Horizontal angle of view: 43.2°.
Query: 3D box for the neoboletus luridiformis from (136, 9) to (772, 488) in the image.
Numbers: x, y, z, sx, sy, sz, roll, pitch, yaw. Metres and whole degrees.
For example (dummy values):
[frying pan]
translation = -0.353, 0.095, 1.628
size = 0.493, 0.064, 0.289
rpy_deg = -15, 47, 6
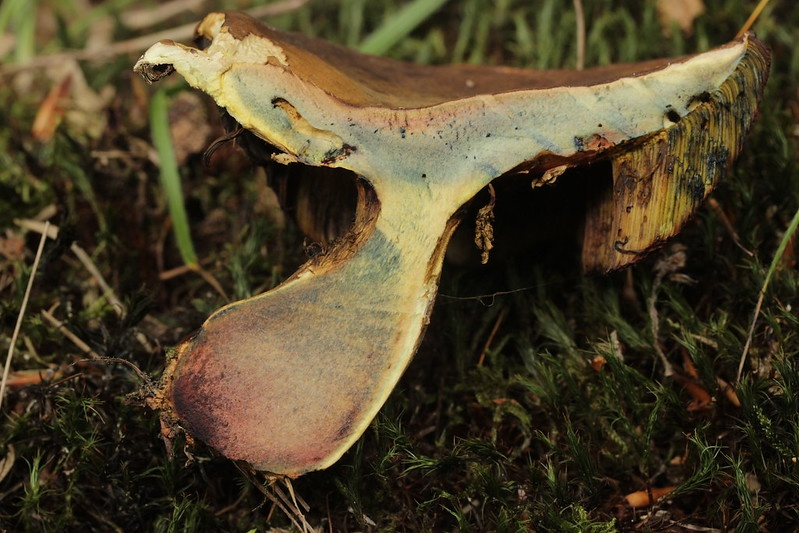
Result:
[neoboletus luridiformis]
translation = 0.085, -0.103, 2.047
size = 0.912, 0.506, 1.066
rpy_deg = 12, 33, 31
